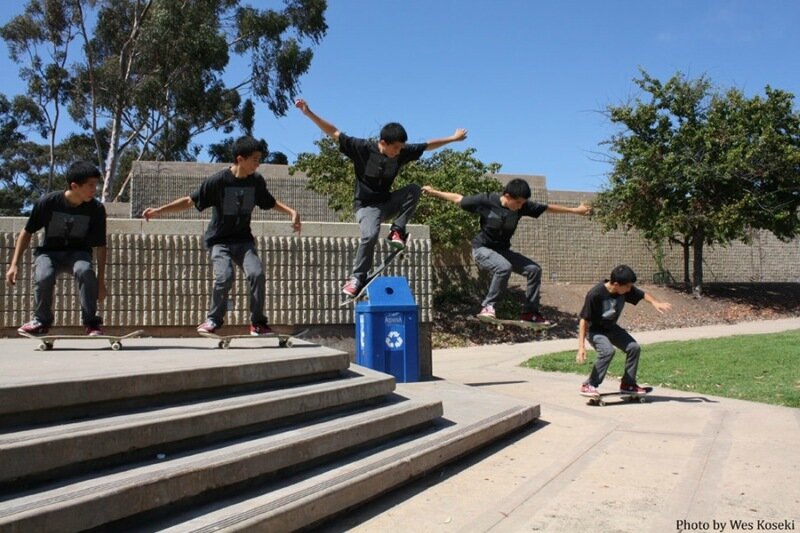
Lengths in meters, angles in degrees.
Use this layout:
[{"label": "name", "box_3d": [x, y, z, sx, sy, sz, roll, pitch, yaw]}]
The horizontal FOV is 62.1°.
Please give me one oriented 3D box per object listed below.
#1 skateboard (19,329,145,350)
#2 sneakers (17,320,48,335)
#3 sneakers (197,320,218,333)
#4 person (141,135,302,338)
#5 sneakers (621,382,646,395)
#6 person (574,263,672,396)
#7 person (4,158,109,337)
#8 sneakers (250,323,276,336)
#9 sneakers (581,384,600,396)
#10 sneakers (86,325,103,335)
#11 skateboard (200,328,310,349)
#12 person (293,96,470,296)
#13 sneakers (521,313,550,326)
[{"label": "skateboard", "box_3d": [-4.202, 0.967, 8.730, 1.251, 0.187, 0.319, 1, -5, -11]}, {"label": "sneakers", "box_3d": [-4.659, 0.783, 8.552, 0.407, 0.182, 0.144, 12, -4, -38]}, {"label": "sneakers", "box_3d": [-2.644, 0.817, 9.011, 0.137, 0.181, 0.394, 10, -7, -40]}, {"label": "person", "box_3d": [-2.237, -0.412, 9.038, 1.288, 2.659, 0.630, 0, -1, 1]}, {"label": "sneakers", "box_3d": [3.512, 1.862, 10.032, 0.401, 0.170, 0.136, -3, -5, 20]}, {"label": "person", "box_3d": [3.207, 0.964, 9.966, 1.112, 1.961, 0.994, 0, -1, 6]}, {"label": "person", "box_3d": [-4.318, -0.248, 8.648, 1.141, 2.257, 0.571, 0, -1, 3]}, {"label": "sneakers", "box_3d": [-1.898, 0.874, 9.115, 0.388, 0.164, 0.146, -1, -6, 14]}, {"label": "sneakers", "box_3d": [2.791, 1.826, 9.773, 0.118, 0.134, 0.291, 7, -13, -23]}, {"label": "sneakers", "box_3d": [-3.957, 0.844, 8.691, 0.145, 0.170, 0.419, 3, -7, -43]}, {"label": "skateboard", "box_3d": [-2.082, 1.023, 9.335, 1.355, 0.221, 0.368, 2, 3, -18]}, {"label": "person", "box_3d": [-0.289, -0.809, 9.728, 1.445, 2.489, 0.861, 0, -1, 12]}, {"label": "sneakers", "box_3d": [2.100, 0.824, 10.321, 0.527, 0.223, 0.176, 1, -2, 0]}]
